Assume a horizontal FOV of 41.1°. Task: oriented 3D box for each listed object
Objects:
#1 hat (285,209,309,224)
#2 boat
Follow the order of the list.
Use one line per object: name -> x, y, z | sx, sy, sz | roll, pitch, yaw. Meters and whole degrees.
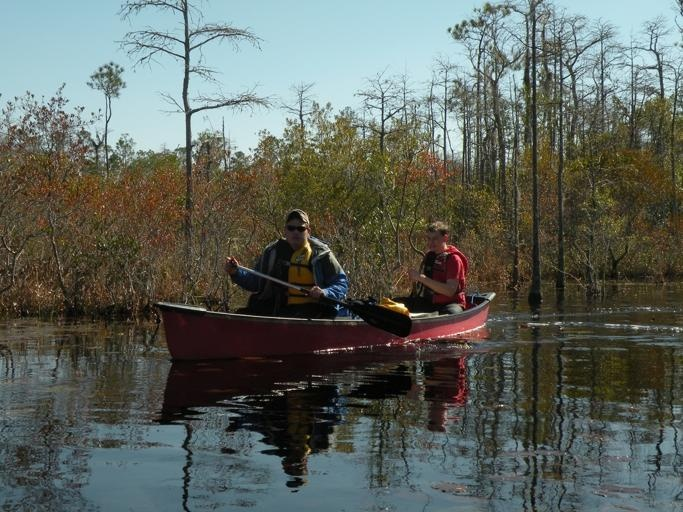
hat -> -0.602, -0.536, 12.009 | 0.278, 0.188, 0.382 | 0, 9, 0
boat -> 0.780, 1.033, 13.218 | 7.091, 0.989, 1.449 | 4, -8, -32
